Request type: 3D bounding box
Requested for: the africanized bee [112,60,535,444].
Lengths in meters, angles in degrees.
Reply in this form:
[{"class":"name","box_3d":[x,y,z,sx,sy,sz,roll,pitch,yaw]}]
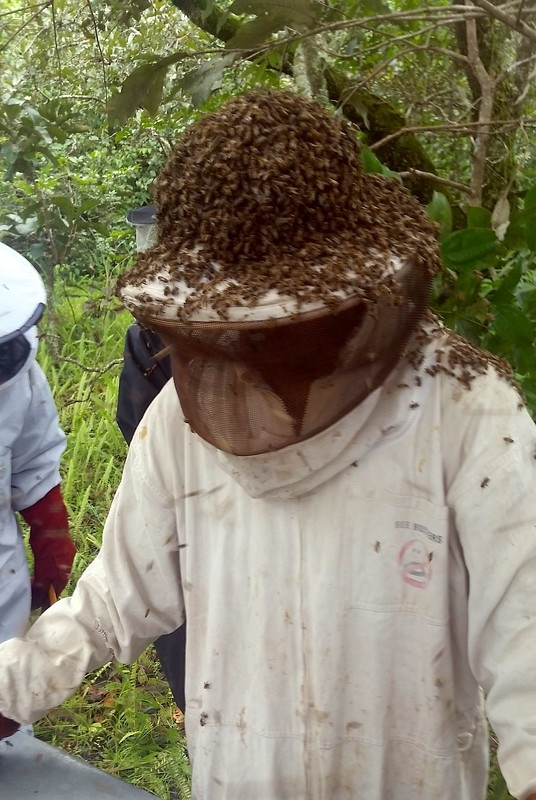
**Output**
[{"class":"africanized bee","box_3d":[0.023,-0.181,1.125,0.493,0.563,0.281,-3,18,-11]}]
